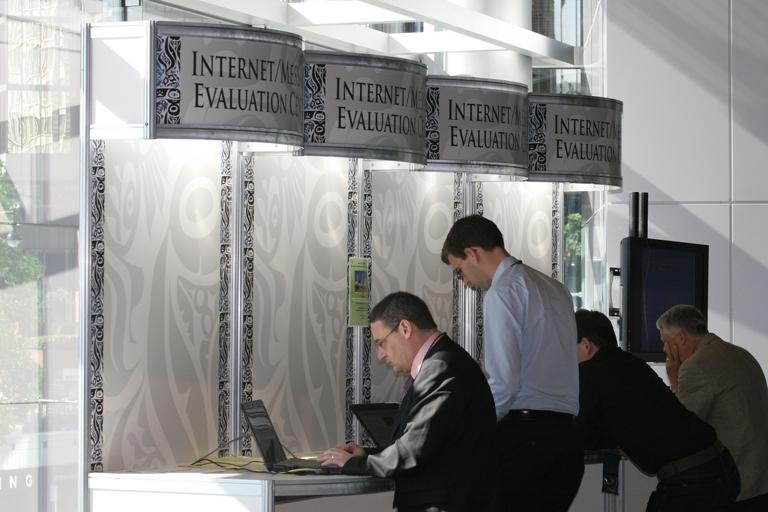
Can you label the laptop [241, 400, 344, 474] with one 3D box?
[{"bbox_3d":[-0.711,1.242,5.650,0.455,0.354,0.509,2,-5,4],"label":"laptop"}]
